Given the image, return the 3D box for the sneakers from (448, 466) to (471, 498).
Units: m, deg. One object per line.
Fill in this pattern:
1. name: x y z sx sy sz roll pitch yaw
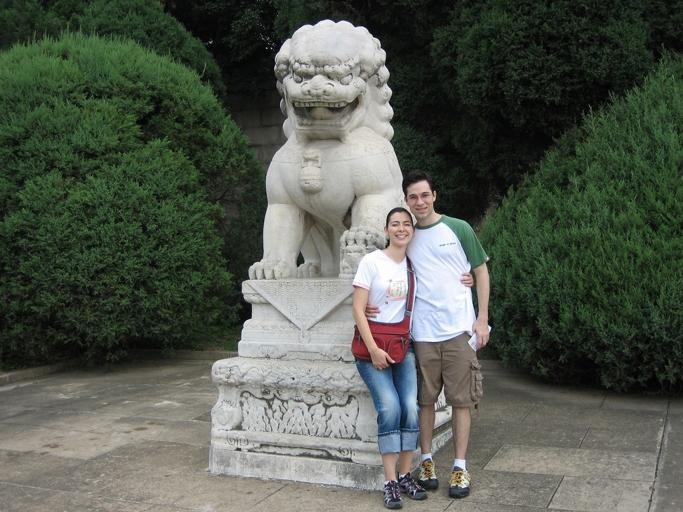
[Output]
1. sneakers: 0.743 1.448 3.790 0.087 0.112 0.244 -5 -12 14

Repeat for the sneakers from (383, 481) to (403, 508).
1. sneakers: 0.316 1.467 3.702 0.119 0.174 0.128 -1 1 2

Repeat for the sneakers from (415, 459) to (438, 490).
1. sneakers: 0.574 1.452 3.999 0.093 0.116 0.252 -2 -8 4

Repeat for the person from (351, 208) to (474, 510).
1. person: 0.293 0.624 3.775 0.445 1.846 0.324 -2 2 -11

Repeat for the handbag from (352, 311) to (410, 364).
1. handbag: 0.279 0.491 3.864 0.445 0.476 0.266 0 -9 5

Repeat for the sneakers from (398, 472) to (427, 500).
1. sneakers: 0.433 1.463 3.817 0.098 0.107 0.229 -1 -5 -28
